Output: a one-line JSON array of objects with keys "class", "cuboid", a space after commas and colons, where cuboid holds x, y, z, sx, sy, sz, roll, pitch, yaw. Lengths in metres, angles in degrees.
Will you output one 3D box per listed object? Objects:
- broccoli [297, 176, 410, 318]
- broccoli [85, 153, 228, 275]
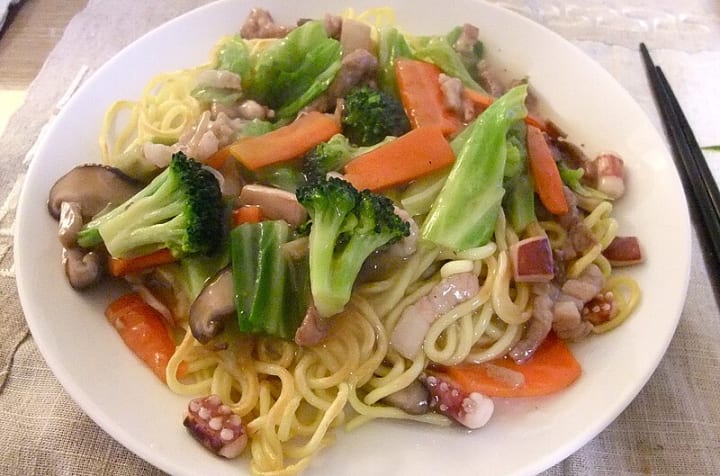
[{"class": "broccoli", "cuboid": [-0.121, -0.018, 4.139, 0.806, 0.739, 0.915, 16, 107, 35]}, {"class": "broccoli", "cuboid": [-1.335, -0.172, 4.349, 0.910, 0.757, 0.722, -8, 108, -6]}]
